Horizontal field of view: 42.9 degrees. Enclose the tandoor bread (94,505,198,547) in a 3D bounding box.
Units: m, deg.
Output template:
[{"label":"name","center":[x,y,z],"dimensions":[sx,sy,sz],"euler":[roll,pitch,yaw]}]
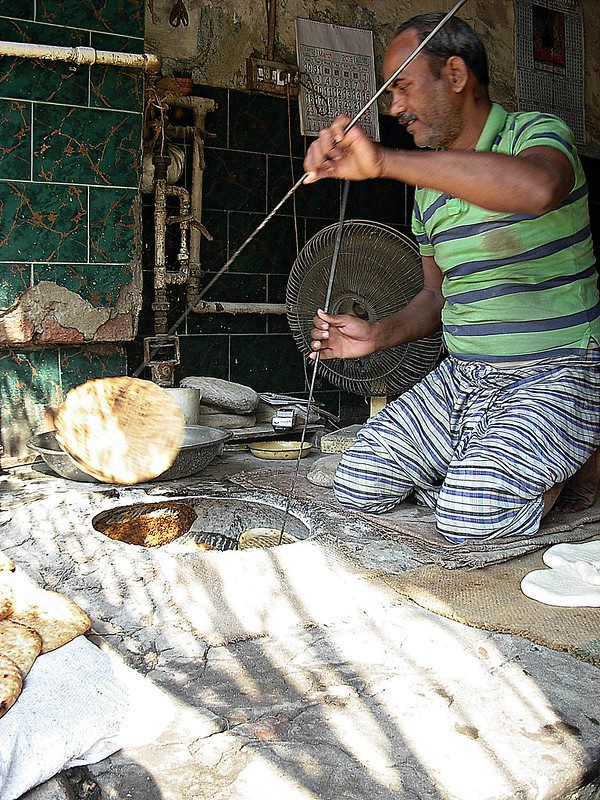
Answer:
[{"label":"tandoor bread","center":[-0.480,0.387,2.417],"dimensions":[0.304,0.096,0.222],"euler":[-1,8,-8]}]
